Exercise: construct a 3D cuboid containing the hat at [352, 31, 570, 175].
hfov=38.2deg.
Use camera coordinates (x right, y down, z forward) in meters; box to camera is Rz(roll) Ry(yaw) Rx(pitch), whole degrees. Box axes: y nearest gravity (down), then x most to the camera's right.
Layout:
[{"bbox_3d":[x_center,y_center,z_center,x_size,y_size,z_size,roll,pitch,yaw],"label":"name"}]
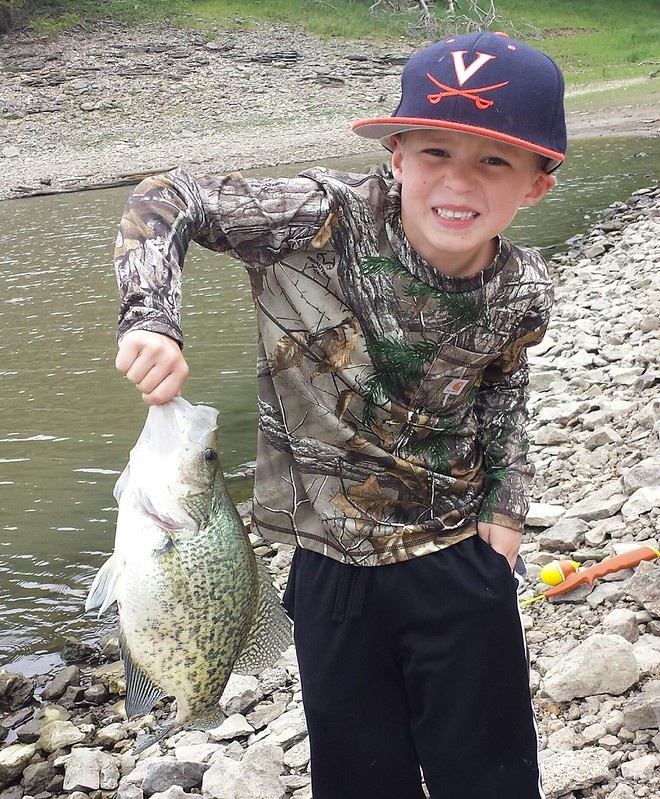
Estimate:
[{"bbox_3d":[0.333,-0.656,2.070,0.334,0.181,0.415,17,9,35],"label":"hat"}]
